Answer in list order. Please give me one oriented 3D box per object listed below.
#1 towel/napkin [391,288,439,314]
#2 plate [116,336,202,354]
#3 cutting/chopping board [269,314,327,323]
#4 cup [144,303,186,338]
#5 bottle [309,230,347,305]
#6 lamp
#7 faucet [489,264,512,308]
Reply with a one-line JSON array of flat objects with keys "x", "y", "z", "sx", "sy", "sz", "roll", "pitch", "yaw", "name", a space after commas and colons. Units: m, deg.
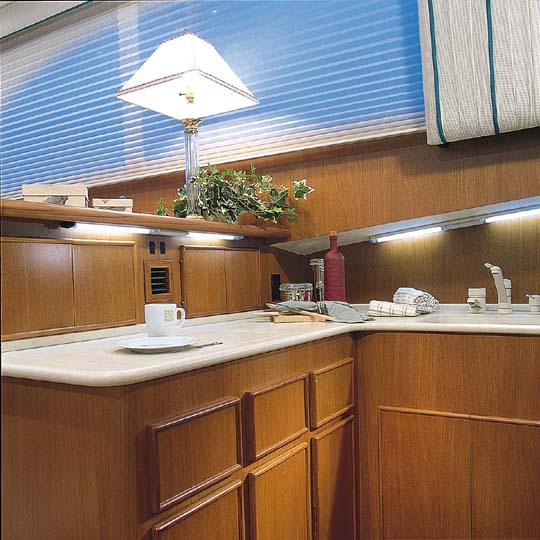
[{"x": 0.643, "y": 0.123, "z": 2.225, "sx": 0.139, "sy": 0.052, "sz": 0.130, "roll": 0, "pitch": 5, "yaw": -28, "name": "towel/napkin"}, {"x": -0.289, "y": 0.194, "z": 1.336, "sx": 0.203, "sy": 0.037, "sz": 0.217, "roll": -2, "pitch": -1, "yaw": -12, "name": "plate"}, {"x": 0.113, "y": 0.185, "z": 1.980, "sx": 0.216, "sy": 0.033, "sz": 0.099, "roll": -2, "pitch": -1, "yaw": 5, "name": "cutting/chopping board"}, {"x": -0.293, "y": 0.139, "z": 1.505, "sx": 0.126, "sy": 0.081, "sz": 0.080, "roll": 8, "pitch": -13, "yaw": -44, "name": "cup"}, {"x": 0.272, "y": -0.012, "z": 2.447, "sx": 0.150, "sy": 0.303, "sz": 0.364, "roll": -2, "pitch": 0, "yaw": 5, "name": "bottle"}, {"x": -0.305, "y": -0.567, "z": 2.144, "sx": 0.460, "sy": 0.730, "sz": 0.452, "roll": -2, "pitch": 0, "yaw": 24, "name": "lamp"}, {"x": 0.969, "y": 0.071, "z": 2.203, "sx": 0.089, "sy": 0.181, "sz": 0.168, "roll": -2, "pitch": 0, "yaw": 23, "name": "faucet"}]
